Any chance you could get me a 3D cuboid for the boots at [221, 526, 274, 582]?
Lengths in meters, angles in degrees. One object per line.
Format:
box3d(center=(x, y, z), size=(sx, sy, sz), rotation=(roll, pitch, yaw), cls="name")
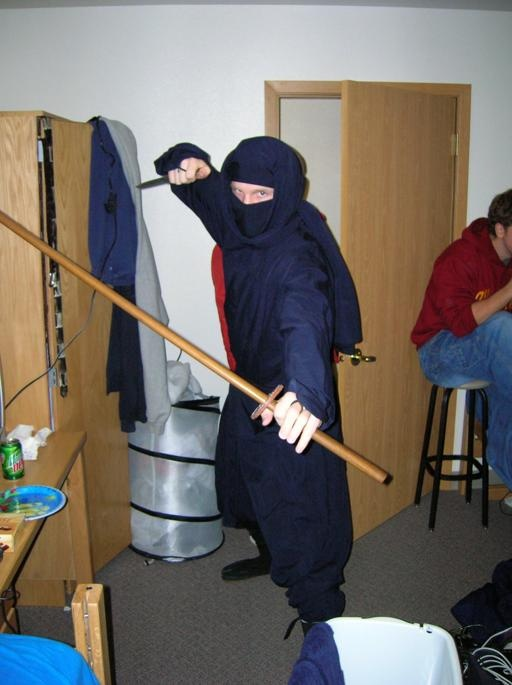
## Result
box3d(center=(-0.046, 0.823, 2.303), size=(0.211, 0.250, 0.117), rotation=(0, -14, -6), cls="boots")
